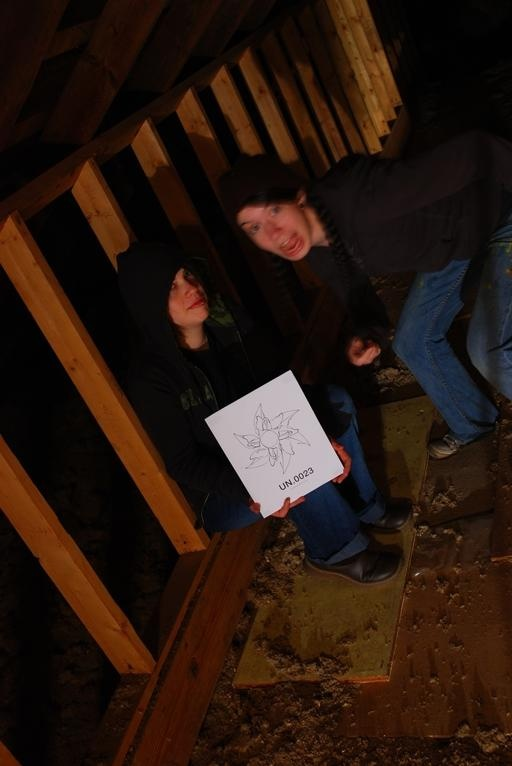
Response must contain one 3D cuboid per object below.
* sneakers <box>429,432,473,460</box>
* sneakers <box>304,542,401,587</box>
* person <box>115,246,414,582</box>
[{"bbox_3d":[0.720,0.240,2.394,0.153,0.070,0.065,-23,29,38],"label":"sneakers"},{"bbox_3d":[0.323,0.587,2.131,0.277,0.122,0.115,-2,38,23],"label":"sneakers"},{"bbox_3d":[0.004,0.079,2.038,0.789,1.111,0.636,7,35,32],"label":"person"}]
